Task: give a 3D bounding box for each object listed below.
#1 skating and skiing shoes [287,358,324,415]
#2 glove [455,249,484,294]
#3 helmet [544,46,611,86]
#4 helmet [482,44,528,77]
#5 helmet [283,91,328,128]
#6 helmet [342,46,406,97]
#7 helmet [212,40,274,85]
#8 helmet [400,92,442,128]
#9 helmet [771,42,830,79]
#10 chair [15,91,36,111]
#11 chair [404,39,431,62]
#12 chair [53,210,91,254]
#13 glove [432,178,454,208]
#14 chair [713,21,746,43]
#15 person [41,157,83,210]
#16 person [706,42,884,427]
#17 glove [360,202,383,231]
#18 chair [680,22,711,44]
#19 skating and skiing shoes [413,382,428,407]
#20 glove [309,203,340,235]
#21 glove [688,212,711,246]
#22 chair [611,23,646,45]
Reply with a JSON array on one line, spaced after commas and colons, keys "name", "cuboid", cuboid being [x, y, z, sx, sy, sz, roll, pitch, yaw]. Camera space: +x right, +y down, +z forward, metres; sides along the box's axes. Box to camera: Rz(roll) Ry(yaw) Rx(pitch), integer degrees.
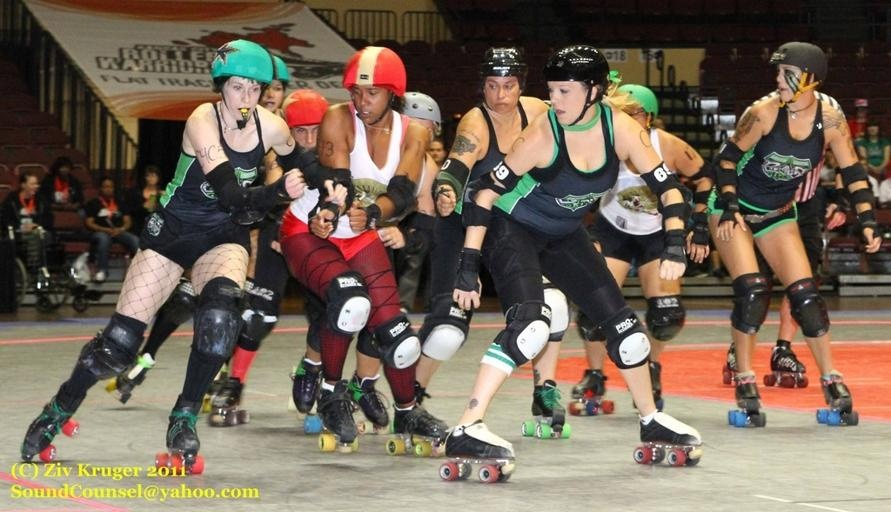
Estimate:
[{"name": "skating and skiing shoes", "cuboid": [-1.182, 1.113, 7.415, 0.209, 0.590, 0.265, 10, -36, -25]}, {"name": "glove", "cuboid": [0.191, 0.093, 6.250, 0.233, 0.275, 0.263, 5, 5, -28]}, {"name": "helmet", "cuboid": [0.920, -1.359, 6.235, 0.385, 0.279, 0.290, 11, -2, -15]}, {"name": "helmet", "cuboid": [0.462, -1.514, 6.880, 0.240, 0.238, 0.303, 1, 13, 5]}, {"name": "helmet", "cuboid": [-1.189, -1.237, 7.428, 0.311, 0.236, 0.443, -3, 10, -13]}, {"name": "helmet", "cuboid": [-0.501, -1.403, 6.691, 0.344, 0.334, 0.435, 8, 11, 25]}, {"name": "helmet", "cuboid": [-1.439, -1.366, 6.223, 0.310, 0.299, 0.372, -2, 3, -36]}, {"name": "helmet", "cuboid": [-0.190, -1.297, 7.848, 0.350, 0.300, 0.256, 4, -2, 4]}, {"name": "helmet", "cuboid": [3.105, -1.653, 7.600, 0.433, 0.247, 0.339, -5, 20, -10]}, {"name": "chair", "cuboid": [-8.548, -3.105, 17.902, 0.400, 0.227, 0.388, 0, -5, 4]}, {"name": "chair", "cuboid": [-0.638, -4.814, 20.856, 0.641, 0.581, 0.573, 0, 0, -6]}, {"name": "chair", "cuboid": [-6.226, -0.400, 14.758, 0.685, 0.827, 0.693, 1, -2, -23]}, {"name": "glove", "cuboid": [0.003, -0.446, 6.502, 0.173, 0.212, 0.101, 0, -16, -4]}, {"name": "chair", "cuboid": [7.127, -5.569, 22.075, 0.801, 0.477, 0.548, -2, 8, 16]}, {"name": "person", "cuboid": [-6.402, -1.181, 14.723, 0.626, 0.892, 0.686, 12, 8, 39]}, {"name": "person", "cuboid": [3.032, -0.227, 7.638, 1.515, 3.232, 1.058, -4, 8, 1]}, {"name": "glove", "cuboid": [-0.523, -0.289, 6.441, 0.140, 0.170, 0.069, 5, -5, -5]}, {"name": "chair", "cuboid": [6.358, -5.667, 22.403, 0.577, 0.294, 0.732, 0, -1, 4]}, {"name": "skating and skiing shoes", "cuboid": [-0.178, 1.153, 7.297, 0.120, 0.209, 0.212, 2, -11, -20]}, {"name": "glove", "cuboid": [-0.868, -0.265, 6.359, 0.127, 0.147, 0.177, 33, 44, 10]}, {"name": "glove", "cuboid": [2.147, -0.211, 7.441, 0.243, 0.315, 0.140, 1, -11, 28]}, {"name": "chair", "cuboid": [4.622, -5.692, 22.291, 0.709, 0.730, 1.296, -2, 8, 12]}]
